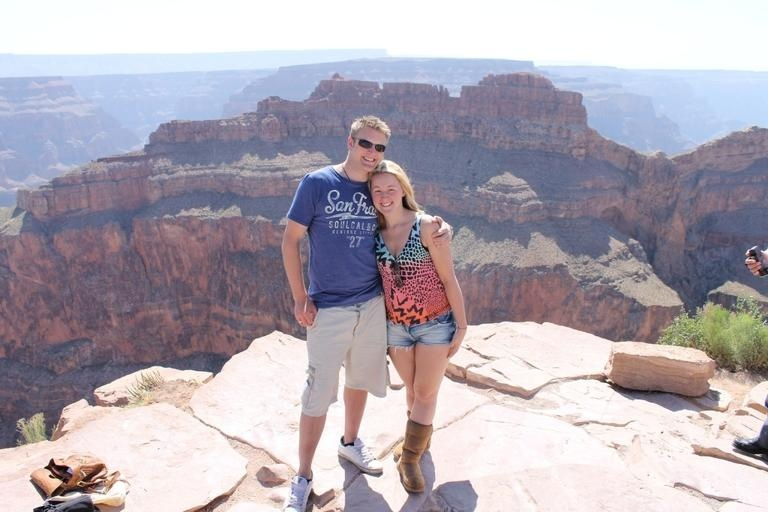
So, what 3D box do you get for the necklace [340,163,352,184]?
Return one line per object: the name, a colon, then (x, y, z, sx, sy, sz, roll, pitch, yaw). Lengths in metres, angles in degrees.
necklace: (-0.971, -1.995, 15.117, 0.140, 0.384, 0.344, -25, 62, -3)
